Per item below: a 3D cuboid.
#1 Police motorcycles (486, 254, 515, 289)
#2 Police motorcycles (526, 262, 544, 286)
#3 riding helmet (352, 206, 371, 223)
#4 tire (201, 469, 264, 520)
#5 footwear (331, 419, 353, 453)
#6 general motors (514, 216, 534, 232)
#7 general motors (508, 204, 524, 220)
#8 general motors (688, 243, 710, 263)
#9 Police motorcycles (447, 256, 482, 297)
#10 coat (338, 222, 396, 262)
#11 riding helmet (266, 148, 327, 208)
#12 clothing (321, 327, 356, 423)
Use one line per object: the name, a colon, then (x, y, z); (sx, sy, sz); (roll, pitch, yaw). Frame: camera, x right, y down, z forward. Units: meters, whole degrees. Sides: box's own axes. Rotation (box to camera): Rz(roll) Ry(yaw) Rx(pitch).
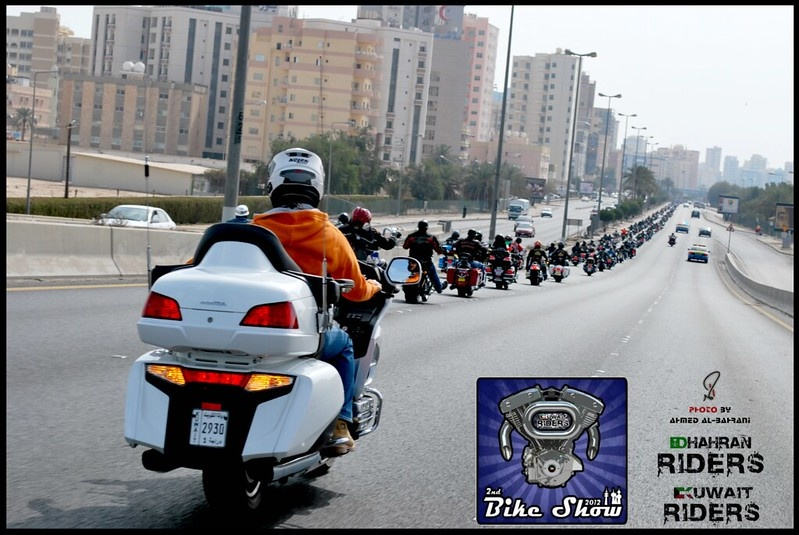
Police motorcycles: (4.009, 0.090, 28.450); (0.798, 0.842, 1.520); (-4, -21, 9)
Police motorcycles: (6.295, 0.234, 32.859); (0.555, 1.082, 1.106); (9, 9, 41)
riding helmet: (-0.599, -0.927, 12.808); (0.356, 0.265, 0.267); (-13, 33, -38)
tire: (-1.061, 1.519, 4.917); (0.447, 0.396, 0.137); (8, 15, -28)
footwear: (-0.426, 1.277, 5.462); (0.108, 0.229, 0.181); (-13, 10, 17)
general motors: (14.619, -5.356, 85.857); (1.960, 1.584, 3.440); (0, 0, 11)
general motors: (17.711, -8.599, 111.009); (2.358, 1.945, 3.845); (0, 0, 9)
general motors: (27.813, -1.251, 67.659); (1.651, 1.409, 3.092); (6, 7, 19)
Police motorcycles: (2.141, 0.237, 23.613); (1.177, 1.374, 0.745); (3, 7, -8)
coat: (-0.587, -0.521, 12.156); (0.623, 0.576, 1.073); (-9, -14, 22)
riding helmet: (-0.800, -0.715, 5.726); (0.439, 0.471, 0.539); (2, 13, -1)
clothing: (-0.414, 0.823, 5.564); (0.206, 0.557, 0.178); (-2, -5, -44)
